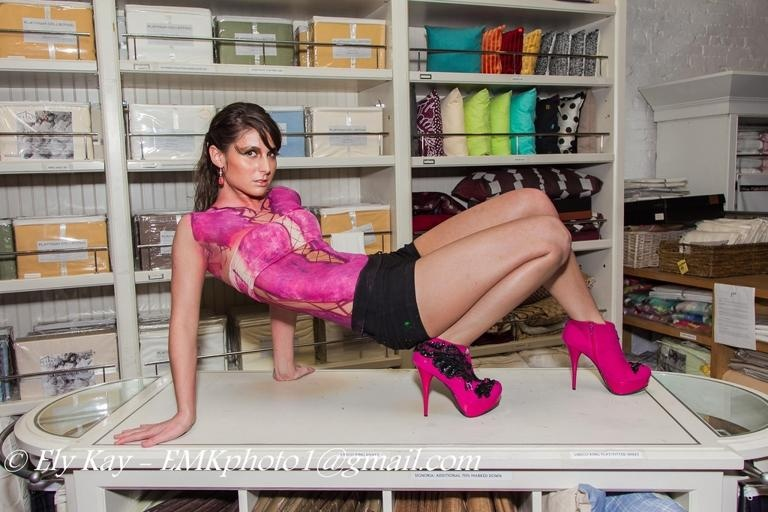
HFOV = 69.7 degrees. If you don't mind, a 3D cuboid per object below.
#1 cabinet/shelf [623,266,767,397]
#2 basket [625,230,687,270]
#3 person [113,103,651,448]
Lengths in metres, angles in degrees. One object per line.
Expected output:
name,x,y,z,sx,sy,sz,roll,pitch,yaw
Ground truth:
cabinet/shelf,1.808,0.404,3.141,0.249,0.634,0.776,-2,4,-36
basket,1.796,-0.051,3.672,0.258,0.154,0.348,0,-5,-7
person,0.038,0.022,2.213,2.113,0.946,0.975,1,15,5
